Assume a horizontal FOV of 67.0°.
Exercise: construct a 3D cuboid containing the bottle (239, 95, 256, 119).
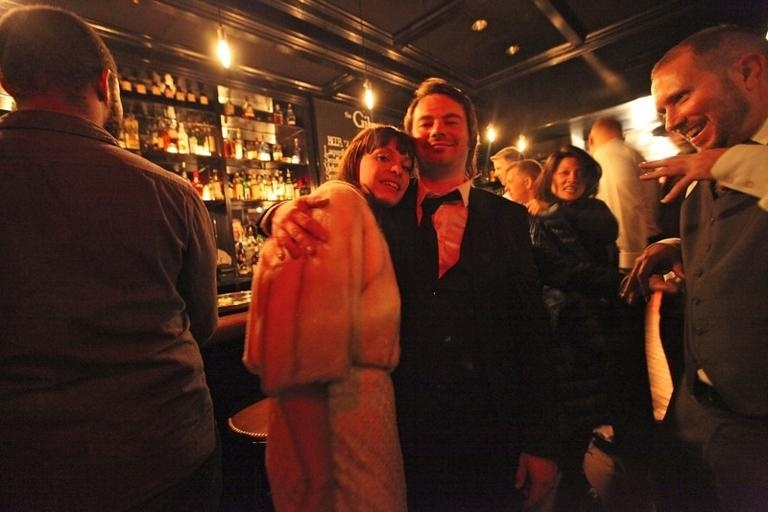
[{"bbox_3d":[-1.123,-1.229,4.812,0.123,0.168,0.093,-2,0,-45],"label":"bottle"}]
